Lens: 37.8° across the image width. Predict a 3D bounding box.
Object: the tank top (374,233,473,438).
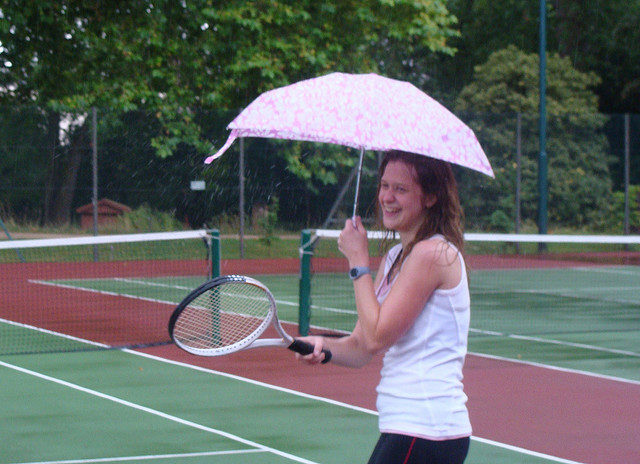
[{"bbox_3d":[1.144,1.158,10.443,1.091,2.485,1.619,5,-13,-12],"label":"tank top"}]
